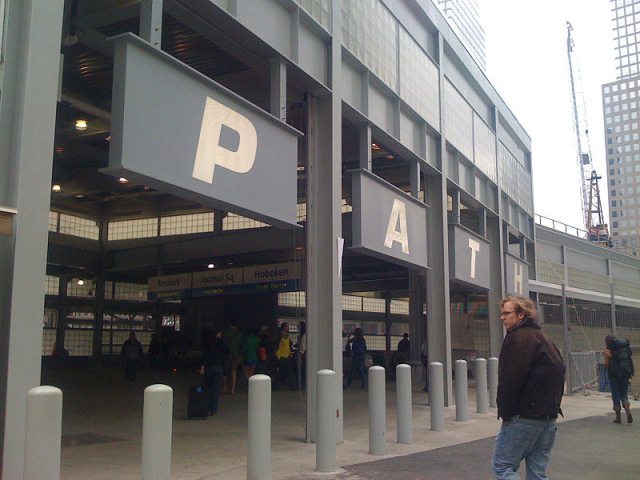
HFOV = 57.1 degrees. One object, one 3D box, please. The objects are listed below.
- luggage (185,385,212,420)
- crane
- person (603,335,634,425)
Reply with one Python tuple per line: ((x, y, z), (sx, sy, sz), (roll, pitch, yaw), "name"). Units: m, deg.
((-2.820, 3.712, 13.478), (0.445, 0.731, 0.478), (1, -11, -14), "luggage")
((69.291, -26.902, 155.550), (9.337, 57.493, 9.796), (-6, 5, 30), "crane")
((6.934, 3.186, 13.677), (0.613, 2.026, 0.766), (6, -5, -23), "person")
